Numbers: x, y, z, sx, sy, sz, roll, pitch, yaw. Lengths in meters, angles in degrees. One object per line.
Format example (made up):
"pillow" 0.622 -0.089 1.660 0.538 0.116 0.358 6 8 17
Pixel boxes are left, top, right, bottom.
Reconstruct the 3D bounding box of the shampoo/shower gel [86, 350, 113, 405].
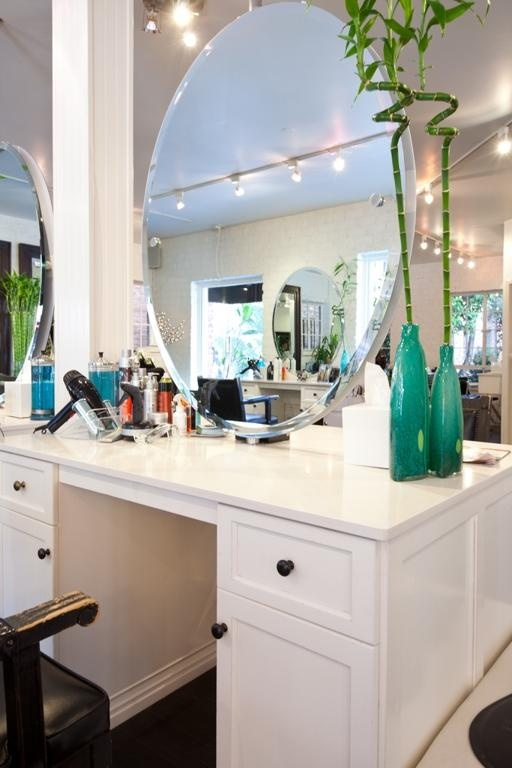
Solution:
"shampoo/shower gel" -0.482 0.015 1.752 0.076 0.210 0.078 -1 -1 -35

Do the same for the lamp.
"lamp" 0.015 -0.488 1.382 0.422 0.094 0.113 8 9 33

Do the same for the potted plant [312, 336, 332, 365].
"potted plant" 0.146 -0.071 1.234 0.043 0.089 0.049 3 -1 0

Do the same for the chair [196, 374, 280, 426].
"chair" -0.047 0.043 1.533 0.166 0.142 0.143 7 5 -43

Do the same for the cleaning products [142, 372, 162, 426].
"cleaning products" -0.311 0.045 1.685 0.032 0.151 0.038 0 3 -20

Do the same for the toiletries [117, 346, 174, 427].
"toiletries" -0.343 0.008 1.713 0.131 0.224 0.201 0 4 -22

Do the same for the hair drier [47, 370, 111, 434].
"hair drier" -0.509 0.042 1.628 0.117 0.228 0.149 8 6 25
